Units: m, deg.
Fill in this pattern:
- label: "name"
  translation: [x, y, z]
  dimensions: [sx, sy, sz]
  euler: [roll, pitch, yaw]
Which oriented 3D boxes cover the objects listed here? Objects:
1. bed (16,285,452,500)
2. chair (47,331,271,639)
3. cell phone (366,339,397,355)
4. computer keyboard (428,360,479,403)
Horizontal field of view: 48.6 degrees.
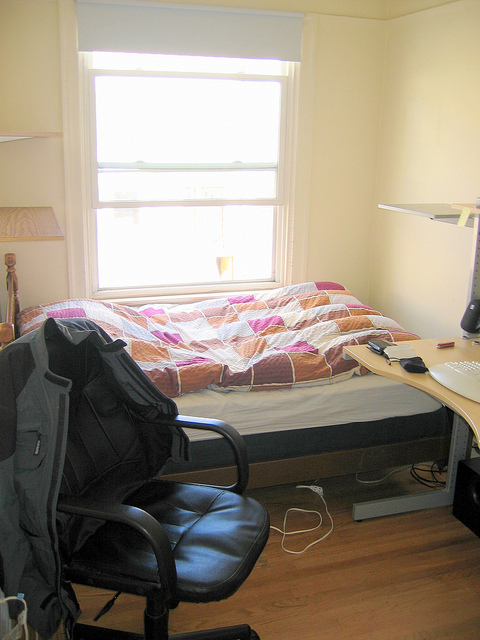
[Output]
- label: "bed"
  translation: [0.059, 0.144, 2.126]
  dimensions: [1.318, 0.408, 0.936]
  euler: [-8, 19, -21]
- label: "chair"
  translation: [-0.193, 0.345, 1.251]
  dimensions: [0.518, 0.607, 0.528]
  euler: [2, 14, 7]
- label: "cell phone"
  translation: [0.526, 0.098, 1.994]
  dimensions: [0.061, 0.017, 0.060]
  euler: [-8, 16, -31]
- label: "computer keyboard"
  translation: [0.691, 0.192, 1.675]
  dimensions: [0.162, 0.037, 0.305]
  euler: [3, 14, 11]
